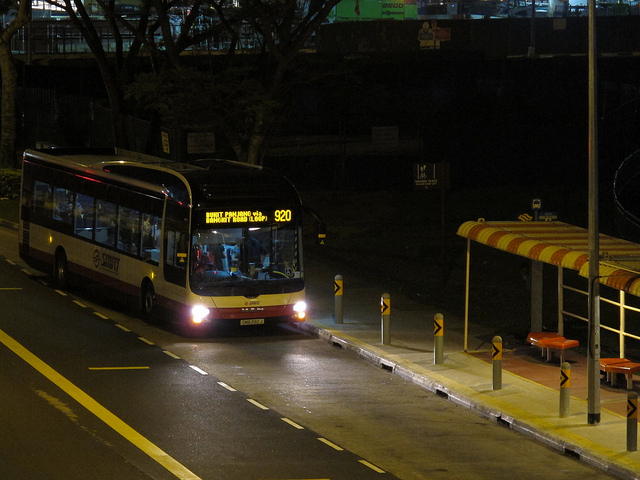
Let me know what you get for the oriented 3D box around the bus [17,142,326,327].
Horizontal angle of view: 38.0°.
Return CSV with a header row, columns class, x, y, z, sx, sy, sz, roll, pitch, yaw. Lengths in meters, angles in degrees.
class,x,y,z,sx,sy,sz,roll,pitch,yaw
bus,-5.231,-0.485,25.936,3.470,3.963,11.844,-2,7,-32
